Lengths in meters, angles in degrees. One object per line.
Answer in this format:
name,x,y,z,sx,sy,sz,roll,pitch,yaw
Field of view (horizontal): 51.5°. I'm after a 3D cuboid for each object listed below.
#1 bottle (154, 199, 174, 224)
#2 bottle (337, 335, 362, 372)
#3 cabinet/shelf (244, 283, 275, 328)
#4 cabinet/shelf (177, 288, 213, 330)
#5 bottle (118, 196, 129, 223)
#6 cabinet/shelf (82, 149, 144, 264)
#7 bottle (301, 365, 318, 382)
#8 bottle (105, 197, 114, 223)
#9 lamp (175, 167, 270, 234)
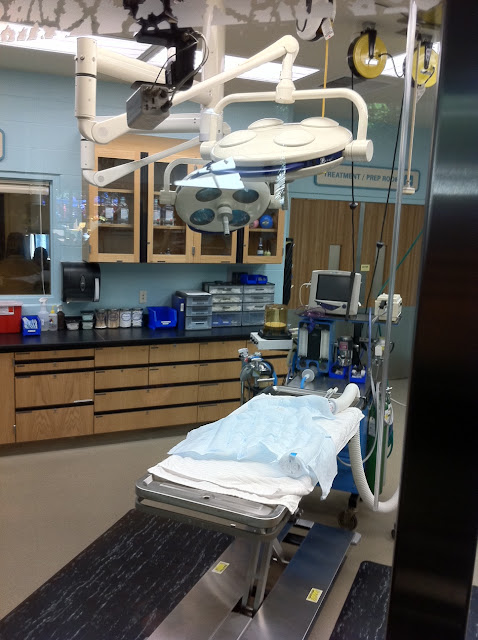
bottle,-0.513,-0.722,3.335,0.124,0.220,0.131,1,16,0
bottle,0.604,0.188,2.712,0.179,0.209,0.088,4,10,36
cabinet/shelf,0.136,-0.122,3.866,0.300,0.413,0.297,-3,11,-14
cabinet/shelf,-0.319,-0.068,3.709,0.248,0.297,0.289,-2,7,-20
bottle,-0.738,-0.703,3.168,0.077,0.153,0.080,-3,5,0
cabinet/shelf,-0.864,-0.715,3.281,0.396,0.799,0.240,-10,22,-40
bottle,0.371,0.295,2.640,0.063,0.071,0.167,-2,5,14
bottle,-0.822,-0.706,3.130,0.055,0.190,0.055,2,26,-1
lamp,-0.051,-0.396,1.649,0.259,0.213,0.260,1,15,0
